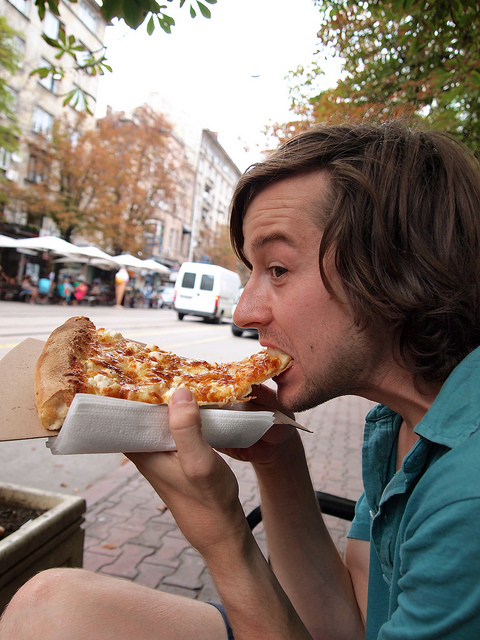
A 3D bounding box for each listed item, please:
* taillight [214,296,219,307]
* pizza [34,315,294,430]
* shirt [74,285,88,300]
[{"bbox_3d":[-1.065,-0.836,22.203,0.102,0.491,0.221,8,6,37],"label":"taillight"},{"bbox_3d":[-0.374,0.083,1.929,0.865,0.370,0.789,-2,6,-28],"label":"pizza"},{"bbox_3d":[-7.988,-1.393,24.503,0.396,0.734,1.055,5,4,5],"label":"shirt"}]
